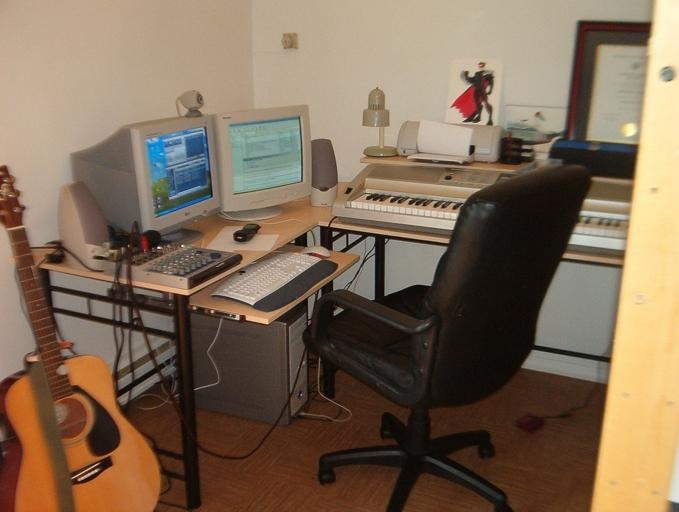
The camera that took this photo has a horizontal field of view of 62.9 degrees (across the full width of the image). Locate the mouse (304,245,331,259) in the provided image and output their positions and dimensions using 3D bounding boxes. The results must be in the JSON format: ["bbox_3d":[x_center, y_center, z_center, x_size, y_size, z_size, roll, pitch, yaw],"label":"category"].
[{"bbox_3d":[-0.085,-0.024,2.339,0.076,0.023,0.056,16,25,16],"label":"mouse"}]

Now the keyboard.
[{"bbox_3d":[-0.242,0.091,2.061,0.217,0.043,0.308,9,26,23],"label":"keyboard"}]

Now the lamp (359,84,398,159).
[{"bbox_3d":[0.217,-0.704,2.858,0.174,0.330,0.382,1,20,3],"label":"lamp"}]

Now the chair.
[{"bbox_3d":[0.414,0.344,2.117,0.898,1.493,0.849,21,30,39],"label":"chair"}]
